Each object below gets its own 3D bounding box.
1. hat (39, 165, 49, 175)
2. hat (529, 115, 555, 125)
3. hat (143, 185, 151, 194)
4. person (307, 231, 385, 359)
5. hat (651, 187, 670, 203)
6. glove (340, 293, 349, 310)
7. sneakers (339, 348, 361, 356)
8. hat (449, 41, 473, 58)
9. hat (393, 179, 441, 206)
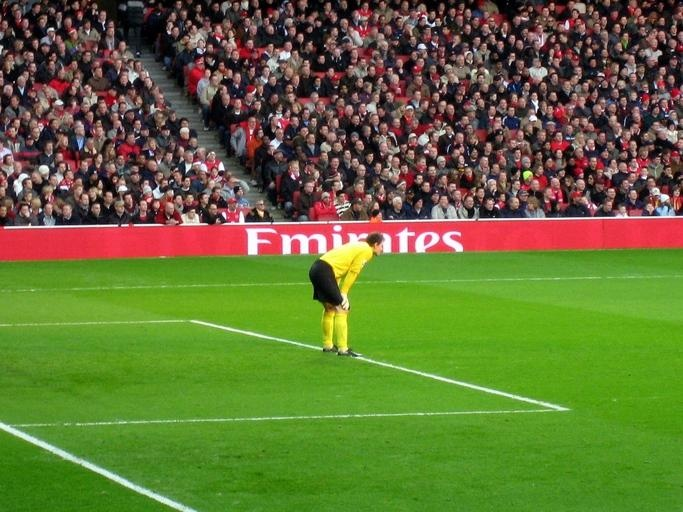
[{"bbox_3d":[-7.077,-2.054,36.047,0.229,0.187,0.220,11,-30,2],"label":"hat"},{"bbox_3d":[5.637,-3.842,42.696,0.414,0.144,0.409,1,-2,22],"label":"hat"},{"bbox_3d":[-4.726,-1.621,36.720,0.194,0.183,0.296,0,11,-7],"label":"hat"},{"bbox_3d":[0.017,0.636,25.848,1.101,2.130,0.612,-2,12,-14],"label":"person"},{"bbox_3d":[8.626,-1.674,40.749,0.463,0.391,0.664,6,12,22],"label":"hat"},{"bbox_3d":[0.042,0.774,25.642,0.151,0.235,0.095,-8,2,-28],"label":"glove"},{"bbox_3d":[0.135,1.630,25.943,0.380,0.141,0.131,1,2,3],"label":"sneakers"},{"bbox_3d":[3.507,-6.094,44.667,0.651,0.257,0.394,-3,7,31],"label":"hat"},{"bbox_3d":[1.951,-1.660,39.093,1.149,0.605,0.700,2,11,3],"label":"hat"}]
